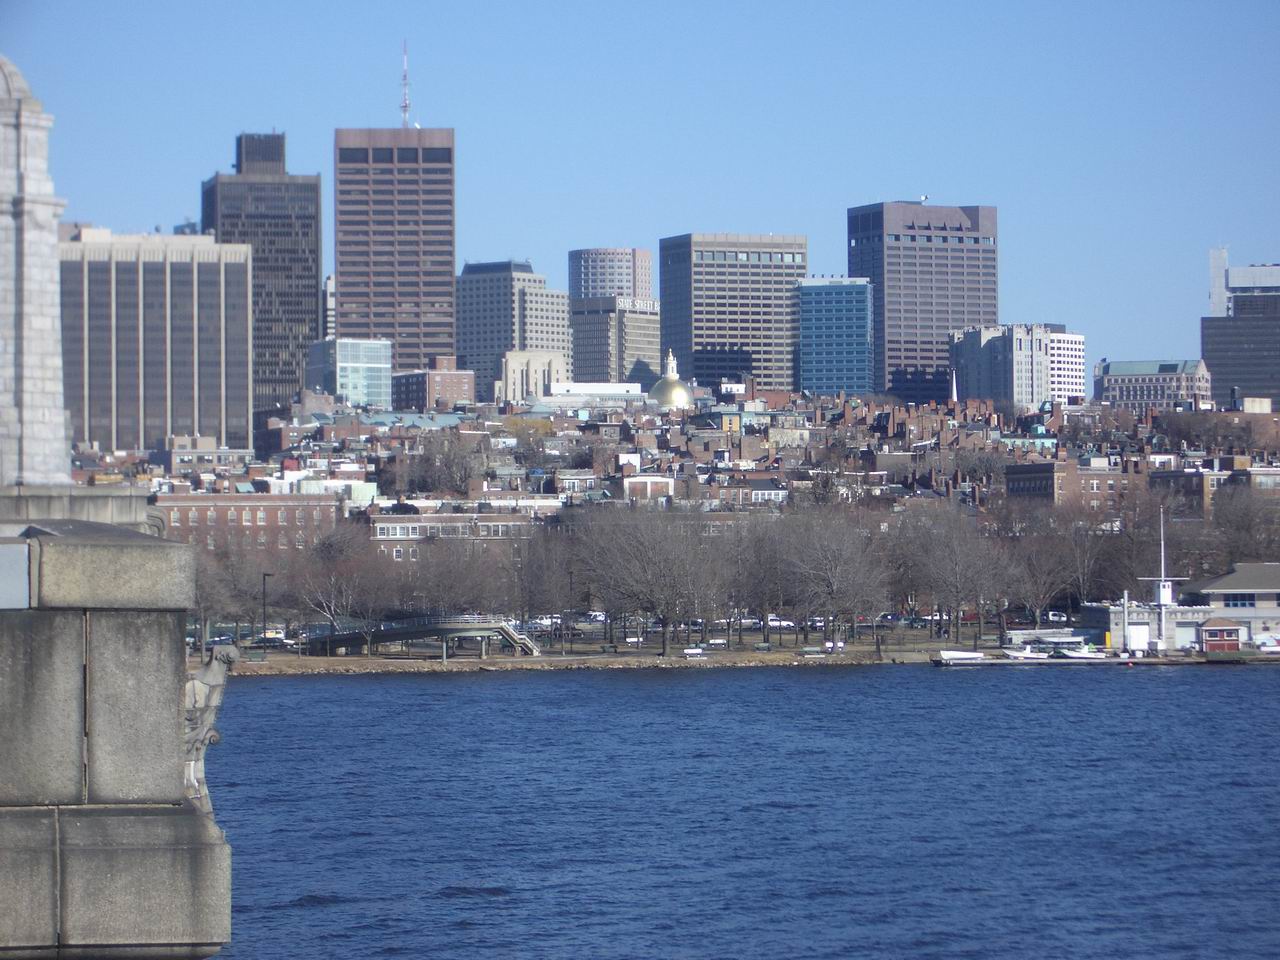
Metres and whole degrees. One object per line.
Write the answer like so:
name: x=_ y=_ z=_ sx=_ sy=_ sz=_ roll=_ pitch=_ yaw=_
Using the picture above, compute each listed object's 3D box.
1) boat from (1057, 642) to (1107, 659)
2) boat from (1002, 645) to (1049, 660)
boat: x=19.185 y=7.625 z=177.524 sx=2.037 sy=0.703 sz=3.461 roll=-2 pitch=-2 yaw=6
boat: x=16.594 y=7.613 z=176.896 sx=1.918 sy=0.596 sz=0.677 roll=5 pitch=-4 yaw=2
